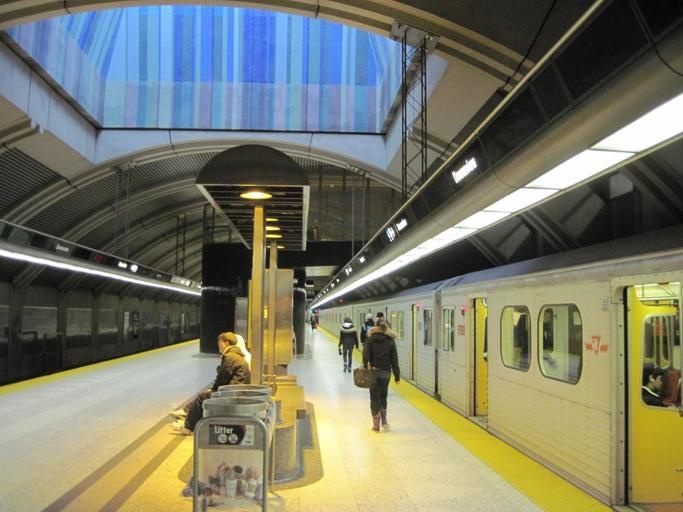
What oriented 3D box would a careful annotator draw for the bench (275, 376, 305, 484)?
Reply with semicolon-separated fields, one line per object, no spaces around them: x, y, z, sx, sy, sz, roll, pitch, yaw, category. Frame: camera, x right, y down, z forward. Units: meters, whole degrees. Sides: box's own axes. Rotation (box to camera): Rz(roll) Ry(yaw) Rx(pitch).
-0.733;2.514;6.853;0.343;0.319;1.281;-1;2;-5;bench

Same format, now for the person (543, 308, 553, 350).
2.829;0.982;6.619;0.144;0.798;0.083;3;35;28;person
